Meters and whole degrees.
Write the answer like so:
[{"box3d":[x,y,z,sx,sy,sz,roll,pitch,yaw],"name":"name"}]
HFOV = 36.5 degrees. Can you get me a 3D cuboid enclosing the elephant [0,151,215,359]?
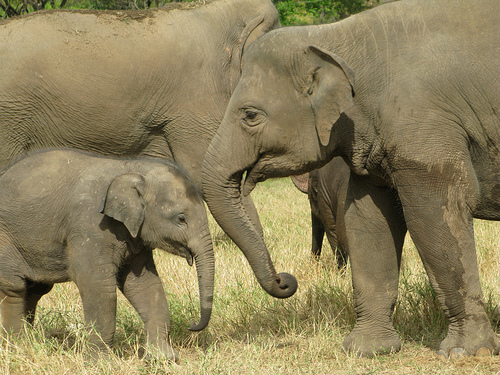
[{"box3d":[-1.081,0.518,5.650,1.613,1.506,0.582,0,11,7],"name":"elephant"}]
